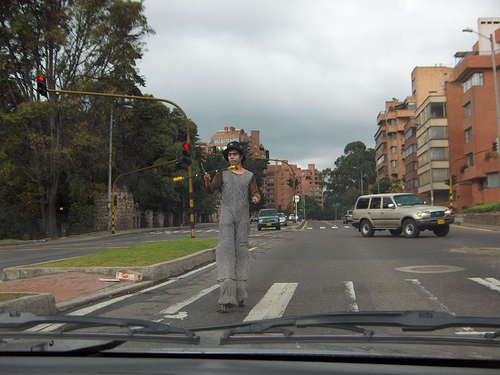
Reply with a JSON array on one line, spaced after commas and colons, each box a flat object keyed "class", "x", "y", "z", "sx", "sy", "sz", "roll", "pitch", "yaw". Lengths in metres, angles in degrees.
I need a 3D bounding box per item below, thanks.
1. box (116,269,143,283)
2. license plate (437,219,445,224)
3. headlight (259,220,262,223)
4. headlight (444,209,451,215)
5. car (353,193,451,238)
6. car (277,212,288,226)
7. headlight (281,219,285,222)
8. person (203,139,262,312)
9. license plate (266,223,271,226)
[{"class": "box", "x": -2.392, "y": 1.773, "z": 11.063, "sx": 0.548, "sy": 0.181, "sz": 0.498, "roll": 0, "pitch": -3, "yaw": 24}, {"class": "license plate", "x": 7.320, "y": 1.301, "z": 21.071, "sx": 0.177, "sy": 0.124, "sz": 0.166, "roll": 0, "pitch": 1, "yaw": 11}, {"class": "headlight", "x": 0.741, "y": 2.406, "z": 38.979, "sx": 0.191, "sy": 0.189, "sz": 0.102, "roll": 0, "pitch": -6, "yaw": -1}, {"class": "headlight", "x": 7.632, "y": 0.924, "z": 21.229, "sx": 0.159, "sy": 0.174, "sz": 0.299, "roll": -3, "pitch": -22, "yaw": 0}, {"class": "car", "x": 6.320, "y": 1.131, "z": 22.797, "sx": 1.754, "sy": 1.583, "sz": 3.555, "roll": 1, "pitch": -8, "yaw": -33}, {"class": "car", "x": 3.155, "y": 3.160, "z": 53.663, "sx": 1.027, "sy": 0.886, "sz": 1.717, "roll": 0, "pitch": 3, "yaw": 12}, {"class": "headlight", "x": 3.133, "y": 3.126, "z": 52.981, "sx": 0.427, "sy": 0.239, "sz": 0.431, "roll": 1, "pitch": 0, "yaw": 18}, {"class": "person", "x": -0.233, "y": 0.539, "z": 8.306, "sx": 0.740, "sy": 2.568, "sz": 0.782, "roll": 0, "pitch": -2, "yaw": 22}, {"class": "license plate", "x": 1.337, "y": 2.592, "z": 38.797, "sx": 0.210, "sy": 0.148, "sz": 0.118, "roll": 2, "pitch": 2, "yaw": 1}]
